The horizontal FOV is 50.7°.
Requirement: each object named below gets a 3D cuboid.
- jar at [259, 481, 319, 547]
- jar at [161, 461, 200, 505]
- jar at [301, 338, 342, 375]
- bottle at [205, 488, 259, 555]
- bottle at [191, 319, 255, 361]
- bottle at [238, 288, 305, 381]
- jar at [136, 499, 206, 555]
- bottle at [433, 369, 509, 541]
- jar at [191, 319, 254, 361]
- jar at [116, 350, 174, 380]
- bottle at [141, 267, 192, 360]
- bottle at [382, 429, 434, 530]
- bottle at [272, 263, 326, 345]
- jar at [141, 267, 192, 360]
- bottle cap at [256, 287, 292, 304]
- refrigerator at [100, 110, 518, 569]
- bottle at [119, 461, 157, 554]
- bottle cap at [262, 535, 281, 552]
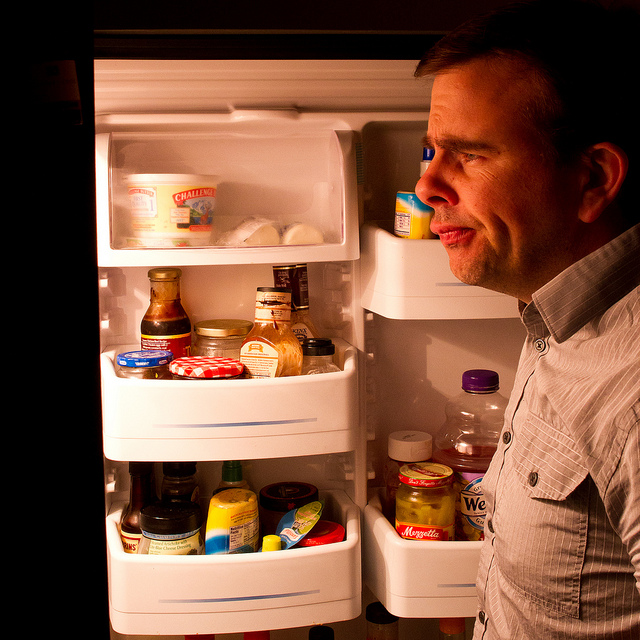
[{"bbox_3d":[-0.059,0.348,1.219,0.095,0.097,0.092,1,2,0],"label":"jar"},{"bbox_3d":[-0.263,0.296,1.215,0.062,0.089,0.063,0,-10,0],"label":"jar"},{"bbox_3d":[-0.004,0.063,1.161,0.069,0.064,0.051,1,2,35],"label":"jar"},{"bbox_3d":[-0.150,0.348,1.141,0.087,0.105,0.122,-2,8,-4],"label":"bottle"},{"bbox_3d":[-0.176,0.031,1.189,0.095,0.071,0.118,-1,2,-20],"label":"bottle"},{"bbox_3d":[-0.092,0.023,1.129,0.081,0.150,0.148,4,10,35],"label":"bottle"},{"bbox_3d":[-0.250,0.359,1.123,0.110,0.100,0.109,3,5,0],"label":"jar"},{"bbox_3d":[0.323,0.270,1.310,0.183,0.310,0.180,-3,7,0],"label":"bottle"},{"bbox_3d":[-0.173,0.026,1.189,0.081,0.073,0.078,1,6,0],"label":"jar"},{"bbox_3d":[-0.292,0.078,1.128,0.097,0.046,0.093,-1,8,0],"label":"jar"},{"bbox_3d":[-0.279,0.009,1.214,0.088,0.198,0.084,1,14,0],"label":"bottle"},{"bbox_3d":[0.154,0.295,1.302,0.097,0.179,0.073,-6,20,-21],"label":"bottle"},{"bbox_3d":[-0.053,-0.013,1.259,0.078,0.197,0.075,-2,15,1],"label":"bottle"},{"bbox_3d":[-0.265,-0.012,1.198,0.069,0.171,0.072,3,17,-1],"label":"jar"},{"bbox_3d":[-0.079,-0.041,1.126,0.036,0.021,0.035,2,1,12],"label":"bottle cap"},{"bbox_3d":[-0.044,0.025,1.120,0.864,0.794,0.297,0,4,-9],"label":"refrigerator"},{"bbox_3d":[-0.315,0.318,1.155,0.062,0.133,0.139,-3,8,-10],"label":"bottle"},{"bbox_3d":[-0.080,0.364,1.101,0.024,0.021,0.023,0,6,-7],"label":"bottle cap"}]
